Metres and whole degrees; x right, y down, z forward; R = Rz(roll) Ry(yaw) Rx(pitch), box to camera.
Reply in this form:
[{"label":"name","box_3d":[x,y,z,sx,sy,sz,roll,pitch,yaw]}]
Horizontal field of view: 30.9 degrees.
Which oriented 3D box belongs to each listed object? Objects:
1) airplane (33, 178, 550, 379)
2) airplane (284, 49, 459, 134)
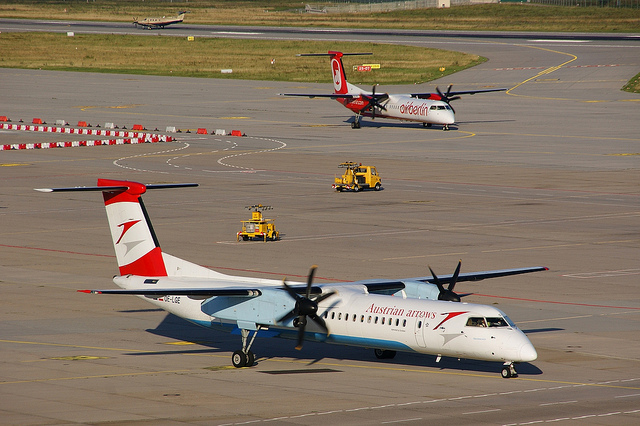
[{"label":"airplane","box_3d":[0.861,4.581,81.048,39.560,11.180,28.682,-1,7,-7]},{"label":"airplane","box_3d":[6.944,-13.132,135.658,20.486,4.266,19.509,-10,15,-42]}]
